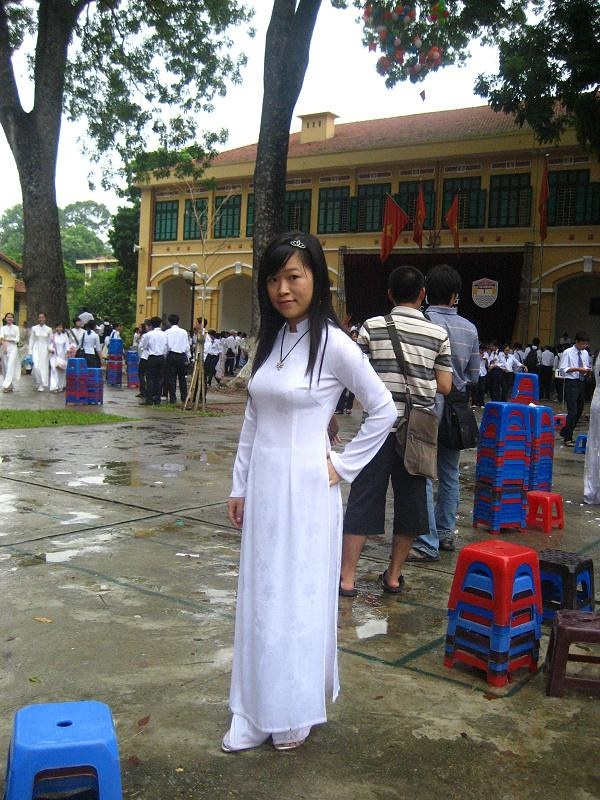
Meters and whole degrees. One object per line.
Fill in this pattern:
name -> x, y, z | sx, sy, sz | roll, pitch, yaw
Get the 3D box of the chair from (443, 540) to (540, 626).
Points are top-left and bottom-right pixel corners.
chair -> 0.859, 0.751, 2.813 | 0.325, 0.297, 0.321 | -3, 6, -38

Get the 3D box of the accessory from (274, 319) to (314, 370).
accessory -> -0.028, -0.174, 2.085 | 0.096, 0.153, 0.041 | -1, -40, 24

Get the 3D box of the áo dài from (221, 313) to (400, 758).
áo dài -> 0.021, 0.421, 2.034 | 0.439, 1.359, 0.326 | 3, 3, 8
